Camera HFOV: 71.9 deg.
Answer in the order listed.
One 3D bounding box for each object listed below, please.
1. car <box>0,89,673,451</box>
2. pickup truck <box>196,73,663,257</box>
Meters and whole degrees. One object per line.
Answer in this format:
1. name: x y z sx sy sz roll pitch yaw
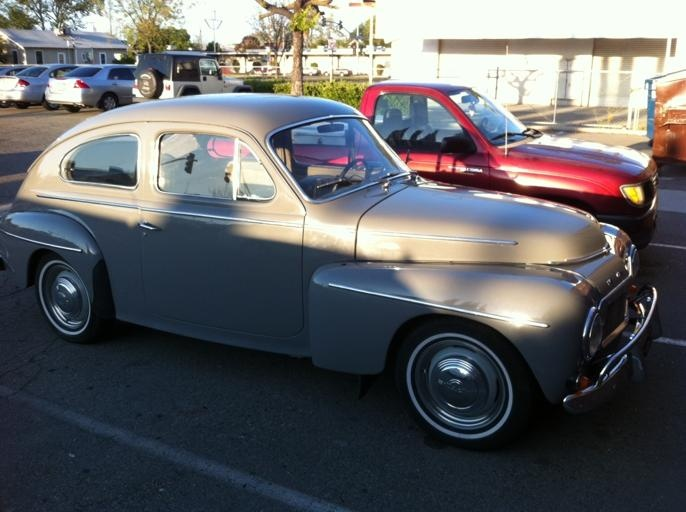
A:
1. car: -0.521 -0.166 4.339 5.680 2.176 2.410 8 27 22
2. pickup truck: 1.993 -1.492 6.547 4.137 1.700 1.979 9 27 25
